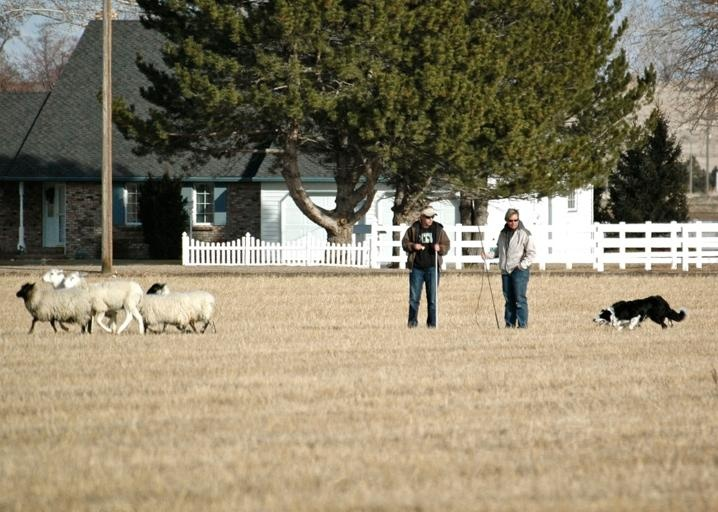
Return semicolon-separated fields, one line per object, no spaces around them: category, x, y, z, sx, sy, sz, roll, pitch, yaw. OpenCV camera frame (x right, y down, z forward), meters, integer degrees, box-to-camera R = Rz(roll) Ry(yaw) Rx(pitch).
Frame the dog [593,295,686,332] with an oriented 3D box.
dog;7.504;1.661;44.989;2.376;1.099;0.689;-8;7;4

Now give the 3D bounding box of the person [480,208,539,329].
person;4.110;0.345;44.673;1.090;3.161;0.912;0;11;4

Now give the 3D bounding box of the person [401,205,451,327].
person;1.779;0.167;44.878;1.125;3.391;1.094;0;9;5
